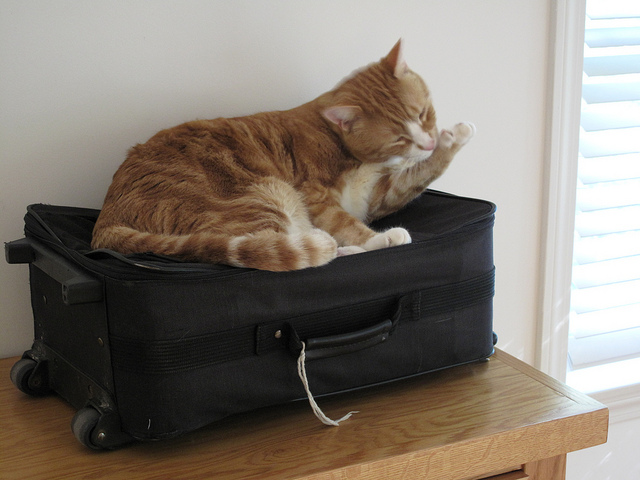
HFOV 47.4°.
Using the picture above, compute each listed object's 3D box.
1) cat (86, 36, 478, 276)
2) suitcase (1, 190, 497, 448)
[{"bbox_3d":[-0.063,-0.164,1.328,0.631,0.308,0.391,-3,6,-11],"label":"cat"},{"bbox_3d":[-0.121,0.086,1.328,0.886,0.349,0.394,-11,19,-16],"label":"suitcase"}]
